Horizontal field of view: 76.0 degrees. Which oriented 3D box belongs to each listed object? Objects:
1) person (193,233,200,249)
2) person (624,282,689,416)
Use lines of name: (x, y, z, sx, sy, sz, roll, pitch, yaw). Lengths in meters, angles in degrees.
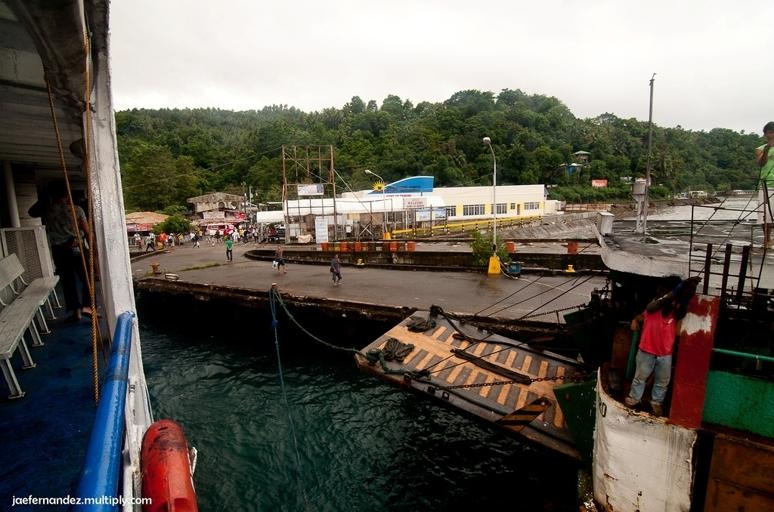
person: (-16.306, -1.372, 42.218, 0.399, 1.019, 1.373, -7, 9, -26)
person: (4.378, 1.457, 8.065, 0.943, 2.163, 0.583, -5, 9, -18)
